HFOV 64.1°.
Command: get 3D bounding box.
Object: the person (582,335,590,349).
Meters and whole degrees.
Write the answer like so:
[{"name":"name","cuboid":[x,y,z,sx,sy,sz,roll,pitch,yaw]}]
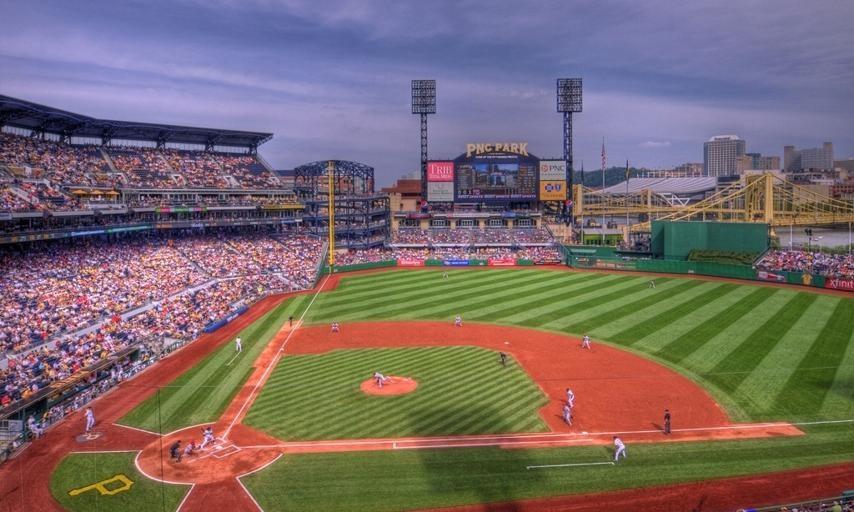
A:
[{"name":"person","cuboid":[14.777,7.884,63.461,0.919,1.151,2.008,3,10,13]}]
